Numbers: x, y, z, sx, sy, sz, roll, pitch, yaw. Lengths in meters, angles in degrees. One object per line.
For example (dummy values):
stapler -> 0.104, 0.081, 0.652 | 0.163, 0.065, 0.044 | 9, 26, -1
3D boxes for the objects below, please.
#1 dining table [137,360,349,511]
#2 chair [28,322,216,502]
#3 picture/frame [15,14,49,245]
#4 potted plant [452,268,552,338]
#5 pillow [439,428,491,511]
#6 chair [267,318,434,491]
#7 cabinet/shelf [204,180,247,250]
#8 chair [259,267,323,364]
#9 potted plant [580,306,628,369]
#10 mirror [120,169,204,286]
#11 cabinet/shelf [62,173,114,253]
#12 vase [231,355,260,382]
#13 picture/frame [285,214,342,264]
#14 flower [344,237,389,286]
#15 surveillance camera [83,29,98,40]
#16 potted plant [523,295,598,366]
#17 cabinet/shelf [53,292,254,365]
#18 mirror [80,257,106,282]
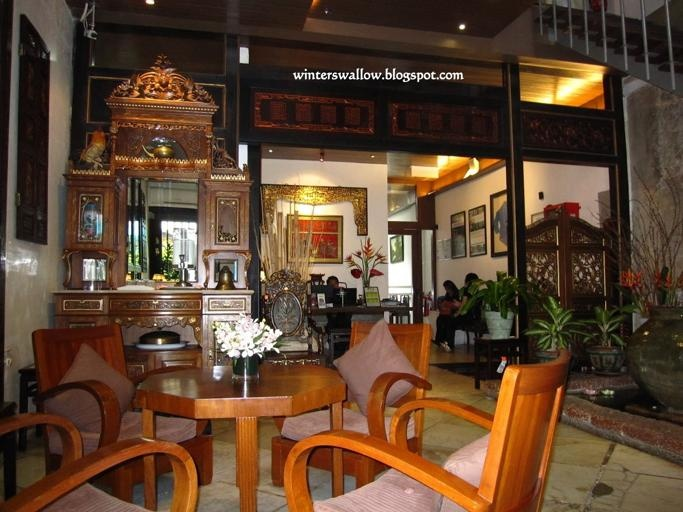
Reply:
dining table -> -0.578, 0.810, 3.326 | 0.873, 0.604, 0.900 | -2, -5, 34
chair -> -1.399, 0.977, 3.648 | 0.985, 1.126, 1.010 | -6, -6, -6
picture/frame -> -2.611, -1.021, 4.757 | 0.120, 1.811, 0.622 | -1, -2, -14
potted plant -> 1.878, 0.609, 6.663 | 1.058, 0.738, 1.038 | -2, -1, -35
pillow -> 0.602, 1.046, 2.737 | 0.106, 0.374, 0.309 | 15, 6, -29
chair -> 0.061, 1.008, 3.794 | 0.959, 1.179, 1.060 | 0, -9, 12
cabinet/shelf -> -1.150, -0.395, 5.623 | 0.436, 0.822, 0.203 | 1, 25, -12
chair -> -0.567, 0.686, 5.999 | 0.709, 1.080, 0.716 | -7, -10, 29
potted plant -> 2.930, 0.935, 6.179 | 0.514, 0.687, 0.442 | 0, -7, -4
mirror -> -1.784, -0.256, 5.561 | 0.657, 1.021, 0.154 | -1, -2, 2
cabinet/shelf -> -2.385, -0.377, 5.346 | 0.410, 0.752, 0.252 | 1, -12, -23
vase -> -0.610, 0.698, 3.551 | 0.143, 0.176, 0.150 | -1, -2, 8
picture/frame -> -0.398, -0.227, 7.824 | 0.736, 0.694, 0.073 | 0, 2, -8
flower -> 0.371, 0.109, 8.847 | 0.722, 0.844, 0.720 | 0, -2, -3
surveillance camera -> -2.614, -2.289, 5.838 | 0.095, 0.046, 0.130 | -8, 12, -41
potted plant -> 2.415, 0.814, 6.320 | 0.755, 0.554, 0.725 | 0, 2, -11
cabinet/shelf -> -1.755, 0.690, 5.337 | 1.633, 0.887, 0.507 | 2, 5, -19
mirror -> -2.380, 0.136, 5.348 | 0.179, 0.193, 0.019 | 15, -17, -19
